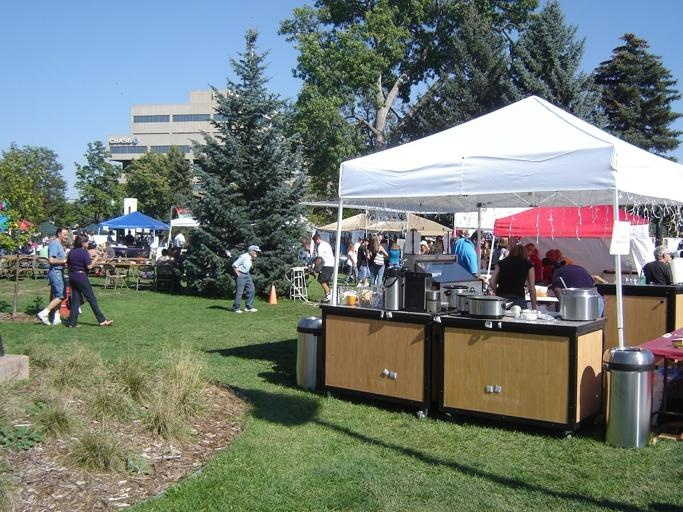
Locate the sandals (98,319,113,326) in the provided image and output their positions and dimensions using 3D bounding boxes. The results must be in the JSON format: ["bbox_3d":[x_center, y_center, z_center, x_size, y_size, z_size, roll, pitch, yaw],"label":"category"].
[{"bbox_3d":[-5.006,1.436,13.733,0.258,0.117,0.093,-10,12,-29],"label":"sandals"}]

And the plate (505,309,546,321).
[{"bbox_3d":[2.369,0.739,8.142,0.257,0.057,0.237,-3,4,-42],"label":"plate"}]

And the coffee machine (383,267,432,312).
[{"bbox_3d":[0.912,0.447,8.785,0.598,0.598,0.463,3,14,14],"label":"coffee machine"}]

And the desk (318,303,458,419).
[{"bbox_3d":[0.772,1.256,9.191,1.875,1.530,1.194,0,-1,35],"label":"desk"}]

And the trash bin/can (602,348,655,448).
[{"bbox_3d":[3.385,1.679,7.811,0.612,1.106,0.593,0,1,-36],"label":"trash bin/can"}]

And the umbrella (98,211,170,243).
[{"bbox_3d":[-10.043,-1.703,31.083,2.883,0.792,1.858,0,5,-22],"label":"umbrella"}]

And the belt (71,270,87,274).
[{"bbox_3d":[-5.380,0.322,13.198,0.271,0.081,0.101,-1,6,-32],"label":"belt"}]

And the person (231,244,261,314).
[{"bbox_3d":[-2.559,0.534,16.833,0.650,1.910,0.673,-8,26,-35],"label":"person"}]

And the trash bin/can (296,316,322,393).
[{"bbox_3d":[-0.524,1.489,9.675,0.331,1.001,0.445,-1,9,-31],"label":"trash bin/can"}]

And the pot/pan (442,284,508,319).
[{"bbox_3d":[1.691,0.592,8.317,0.598,0.409,0.563,6,7,41],"label":"pot/pan"}]

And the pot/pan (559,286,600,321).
[{"bbox_3d":[3.011,0.578,8.164,0.386,0.341,0.410,-1,3,7],"label":"pot/pan"}]
